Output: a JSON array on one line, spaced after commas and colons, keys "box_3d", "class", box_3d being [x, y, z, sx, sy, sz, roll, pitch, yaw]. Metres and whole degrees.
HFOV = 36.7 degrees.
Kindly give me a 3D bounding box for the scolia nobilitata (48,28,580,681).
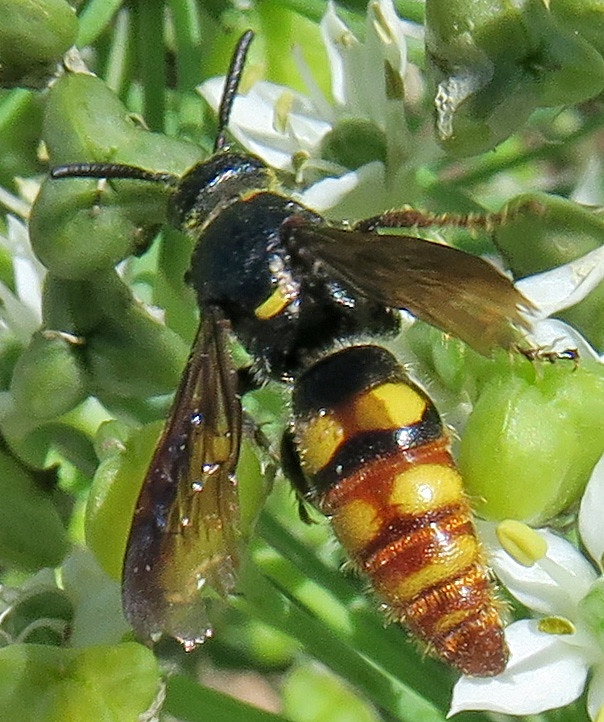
[{"box_3d": [0.010, 0.025, 0.865, 0.447, 0.309, 0.576, -21, 55, -6], "class": "scolia nobilitata"}]
